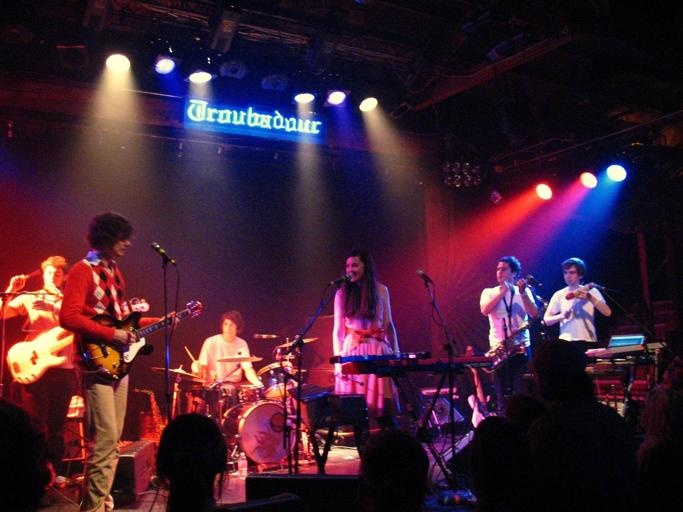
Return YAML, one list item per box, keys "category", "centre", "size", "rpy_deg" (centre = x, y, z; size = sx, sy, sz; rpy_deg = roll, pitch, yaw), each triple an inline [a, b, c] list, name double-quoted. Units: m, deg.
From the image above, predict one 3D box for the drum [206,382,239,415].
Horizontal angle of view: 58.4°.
- category: "drum"
  centre: [-1.600, 1.895, 8.108]
  size: [0.428, 0.435, 0.420]
  rpy_deg: [-3, -7, 15]

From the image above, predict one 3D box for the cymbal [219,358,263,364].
- category: "cymbal"
  centre: [-1.443, 1.455, 8.633]
  size: [0.593, 0.095, 0.580]
  rpy_deg: [3, -12, -16]

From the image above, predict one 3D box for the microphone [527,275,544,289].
- category: "microphone"
  centre: [2.970, 0.395, 9.333]
  size: [0.235, 0.120, 0.304]
  rpy_deg: [25, 0, -25]

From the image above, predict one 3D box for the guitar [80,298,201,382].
- category: "guitar"
  centre: [-2.004, 0.805, 5.849]
  size: [0.967, 0.397, 0.947]
  rpy_deg: [-24, 13, -33]

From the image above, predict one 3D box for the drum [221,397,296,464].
- category: "drum"
  centre: [-1.011, 2.223, 7.622]
  size: [0.738, 0.806, 1.650]
  rpy_deg: [5, -13, -27]

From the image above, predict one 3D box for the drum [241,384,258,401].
- category: "drum"
  centre: [-1.244, 1.836, 8.227]
  size: [0.209, 0.195, 0.212]
  rpy_deg: [0, -4, -22]

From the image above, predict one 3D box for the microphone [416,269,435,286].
- category: "microphone"
  centre: [1.229, 0.297, 8.795]
  size: [0.232, 0.213, 0.748]
  rpy_deg: [-25, 0, 0]

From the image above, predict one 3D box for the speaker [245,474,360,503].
- category: "speaker"
  centre: [-0.284, 1.702, 4.473]
  size: [0.823, 0.190, 0.169]
  rpy_deg: [-2, -12, 5]

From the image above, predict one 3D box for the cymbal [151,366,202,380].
- category: "cymbal"
  centre: [-2.047, 1.493, 7.688]
  size: [0.519, 0.115, 0.510]
  rpy_deg: [21, -21, -14]

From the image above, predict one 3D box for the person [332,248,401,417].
- category: "person"
  centre: [0.245, 1.020, 6.699]
  size: [0.826, 2.039, 0.755]
  rpy_deg: [-3, 11, -4]

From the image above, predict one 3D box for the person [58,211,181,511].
- category: "person"
  centre: [-2.164, 0.967, 5.667]
  size: [0.565, 2.786, 0.876]
  rpy_deg: [-3, -12, 11]
